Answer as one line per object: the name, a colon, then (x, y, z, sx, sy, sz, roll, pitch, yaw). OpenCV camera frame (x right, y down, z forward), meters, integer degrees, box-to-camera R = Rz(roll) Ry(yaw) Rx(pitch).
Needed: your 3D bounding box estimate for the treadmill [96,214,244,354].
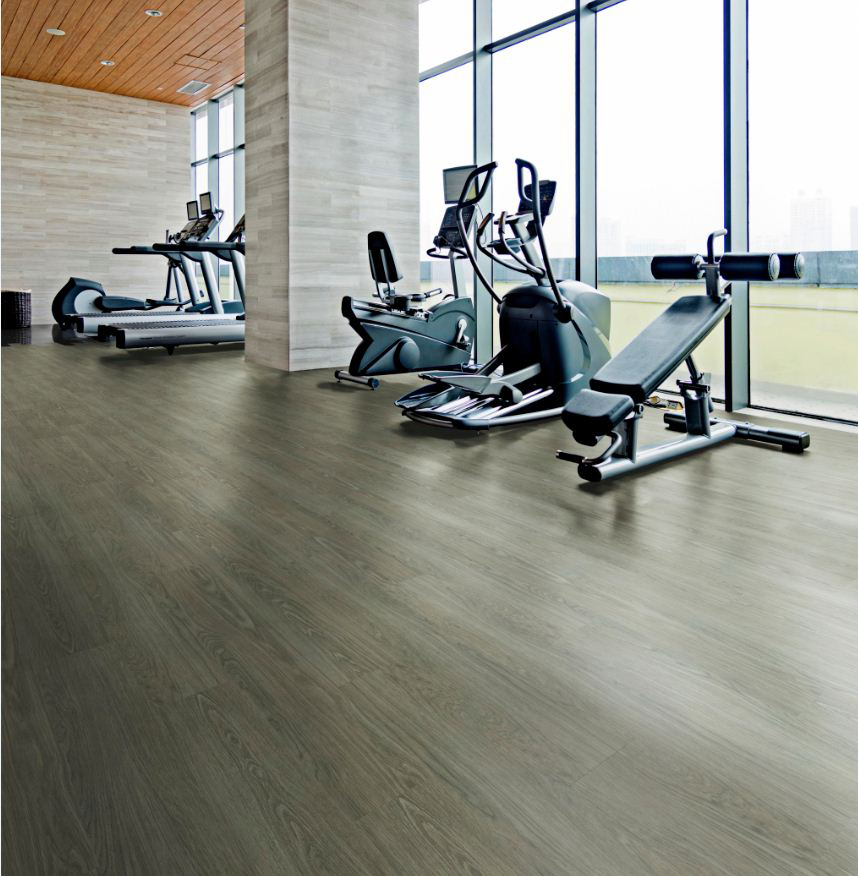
treadmill: (-2.518, -1.556, 6.736, 1.530, 1.159, 0.934, -18, 25, -41)

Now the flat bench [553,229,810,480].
flat bench: (1.009, -0.356, 2.834, 1.282, 0.934, 0.810, -17, 20, -40)
